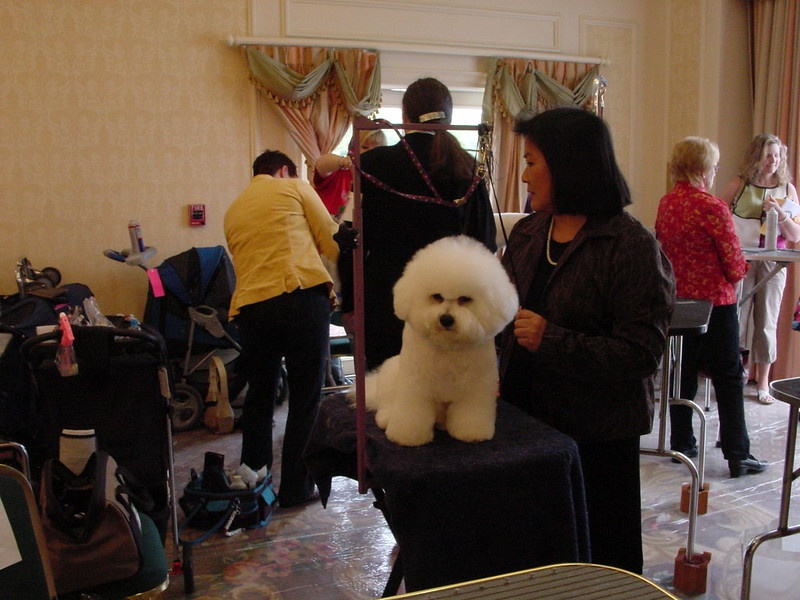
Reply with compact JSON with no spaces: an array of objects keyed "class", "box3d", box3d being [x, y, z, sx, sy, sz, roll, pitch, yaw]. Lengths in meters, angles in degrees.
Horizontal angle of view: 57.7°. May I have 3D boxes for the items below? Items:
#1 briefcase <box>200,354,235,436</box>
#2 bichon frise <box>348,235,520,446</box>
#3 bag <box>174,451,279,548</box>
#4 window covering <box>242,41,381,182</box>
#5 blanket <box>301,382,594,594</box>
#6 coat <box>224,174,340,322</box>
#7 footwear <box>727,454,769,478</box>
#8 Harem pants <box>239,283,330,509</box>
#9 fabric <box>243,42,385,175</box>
[{"class":"briefcase","box3d":[-1.324,0.672,5.187,0.232,0.562,0.289,-7,3,-44]},{"class":"bichon frise","box3d":[0.123,0.120,2.764,0.499,0.719,0.775,-2,7,-24]},{"class":"bag","box3d":[-0.933,1.035,3.857,0.395,0.164,0.473,3,4,43]},{"class":"window covering","box3d":[-0.677,-1.541,6.094,1.123,1.085,0.131,-5,26,-22]},{"class":"blanket","box3d":[0.166,0.460,2.576,0.837,0.390,0.667,-2,11,-18]},{"class":"coat","box3d":[-0.653,-0.313,4.002,0.619,0.770,0.395,-5,8,-7]},{"class":"footwear","box3d":[2.090,0.986,4.403,0.275,0.112,0.097,-3,6,-28]},{"class":"Harem pants","box3d":[-0.664,0.396,4.080,0.512,1.400,0.418,4,13,13]},{"class":"fabric","box3d":[-0.692,-1.534,6.068,1.205,1.054,0.139,-6,23,-26]}]
